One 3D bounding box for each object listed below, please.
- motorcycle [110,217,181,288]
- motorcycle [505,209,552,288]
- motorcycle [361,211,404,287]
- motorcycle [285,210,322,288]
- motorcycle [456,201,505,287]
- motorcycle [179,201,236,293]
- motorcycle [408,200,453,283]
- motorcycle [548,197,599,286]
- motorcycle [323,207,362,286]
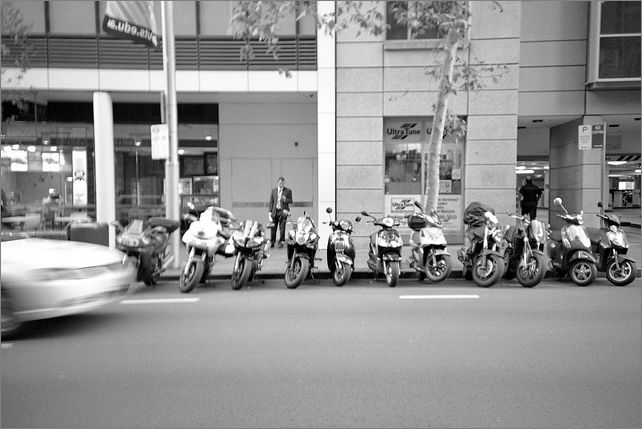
[{"bbox_3d":[-4.184,0.948,14.637,1.184,1.686,2.680,3,2,8],"label":"motorcycle"},{"bbox_3d":[4.909,0.948,14.441,0.736,1.741,1.241,-10,17,-35],"label":"motorcycle"},{"bbox_3d":[1.576,0.860,14.682,0.989,1.887,0.940,7,16,31],"label":"motorcycle"},{"bbox_3d":[-0.441,0.847,14.292,0.772,1.724,0.870,-1,13,1],"label":"motorcycle"},{"bbox_3d":[3.919,0.835,14.616,0.843,1.976,1.516,-2,14,-2],"label":"motorcycle"},{"bbox_3d":[-2.658,0.751,14.167,1.306,2.194,1.483,-1,14,-1],"label":"motorcycle"},{"bbox_3d":[2.603,0.684,15.339,0.816,1.910,2.989,3,1,-4],"label":"motorcycle"},{"bbox_3d":[6.219,0.678,15.074,0.801,1.981,2.360,5,-1,4],"label":"motorcycle"},{"bbox_3d":[0.516,0.954,14.562,0.559,1.562,0.803,-3,14,-9],"label":"motorcycle"}]
